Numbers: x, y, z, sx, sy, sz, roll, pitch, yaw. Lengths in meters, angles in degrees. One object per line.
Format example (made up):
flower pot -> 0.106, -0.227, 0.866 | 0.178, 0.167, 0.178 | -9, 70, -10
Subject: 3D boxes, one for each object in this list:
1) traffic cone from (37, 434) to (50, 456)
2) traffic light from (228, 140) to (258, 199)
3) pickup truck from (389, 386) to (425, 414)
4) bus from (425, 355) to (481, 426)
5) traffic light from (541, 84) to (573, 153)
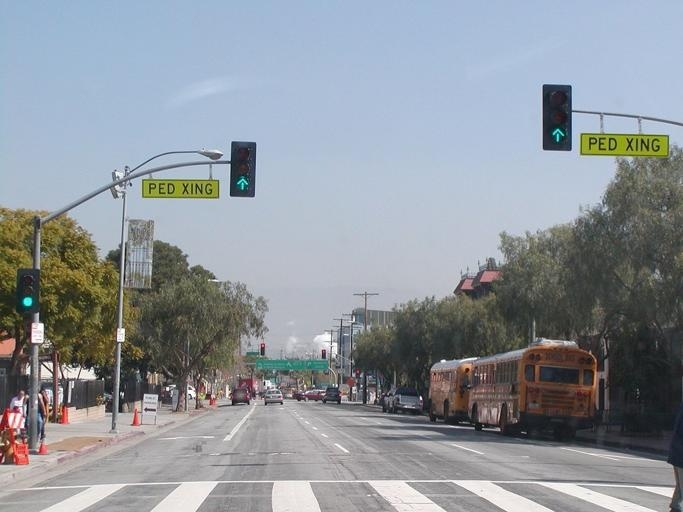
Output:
traffic cone -> -10.193, 6.488, 32.431 | 0.499, 0.694, 0.597 | 3, -13, -15
traffic light -> -3.181, -2.762, 30.735 | 0.863, 0.281, 2.304 | 2, -44, -3
pickup truck -> 4.576, 10.761, 70.692 | 1.796, 2.107, 3.344 | 5, -13, -39
bus -> 6.348, 7.589, 52.923 | 1.653, 2.532, 4.963 | 3, -10, -5
traffic light -> 6.533, -4.150, 28.520 | 0.905, 2.029, 0.281 | -2, -7, 3
